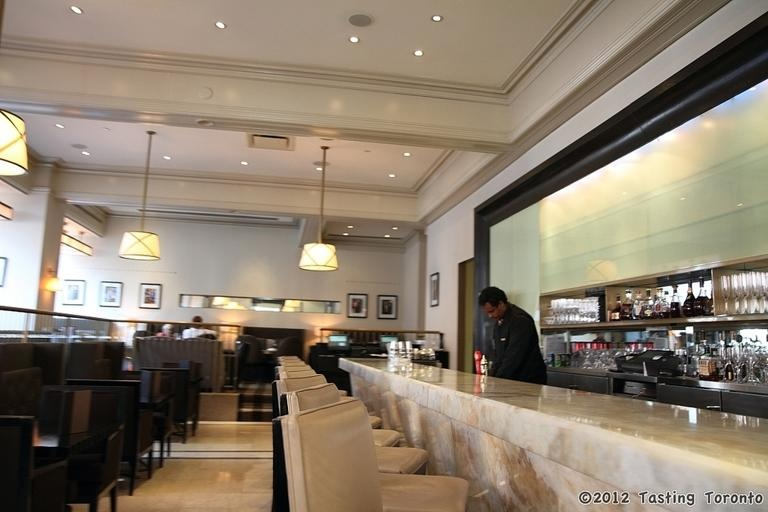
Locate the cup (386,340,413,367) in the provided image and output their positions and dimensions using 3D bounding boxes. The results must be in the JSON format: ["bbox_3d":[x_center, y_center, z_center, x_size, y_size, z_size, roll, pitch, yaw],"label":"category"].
[{"bbox_3d":[0.181,0.998,5.133,0.241,0.249,0.231,0,-5,0],"label":"cup"}]

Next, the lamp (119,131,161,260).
[{"bbox_3d":[-4.039,-1.102,8.552,0.650,2.156,0.640,5,-1,-5],"label":"lamp"}]

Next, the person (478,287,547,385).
[{"bbox_3d":[1.219,0.749,4.956,0.423,0.921,0.543,7,-12,-26],"label":"person"}]

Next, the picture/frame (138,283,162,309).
[{"bbox_3d":[-5.958,1.038,12.778,0.708,0.795,0.091,0,-3,-18],"label":"picture/frame"}]

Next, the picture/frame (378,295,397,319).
[{"bbox_3d":[0.062,1.404,13.647,0.667,0.687,0.058,3,-8,-4],"label":"picture/frame"}]

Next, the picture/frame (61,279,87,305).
[{"bbox_3d":[-7.729,0.920,12.539,0.679,0.822,0.063,0,-4,-8],"label":"picture/frame"}]

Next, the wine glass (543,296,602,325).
[{"bbox_3d":[2.330,0.673,6.199,0.190,0.335,0.703,7,-12,-26],"label":"wine glass"}]

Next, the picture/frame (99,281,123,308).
[{"bbox_3d":[-6.884,0.982,12.654,0.708,0.827,0.087,0,-7,-22],"label":"picture/frame"}]
